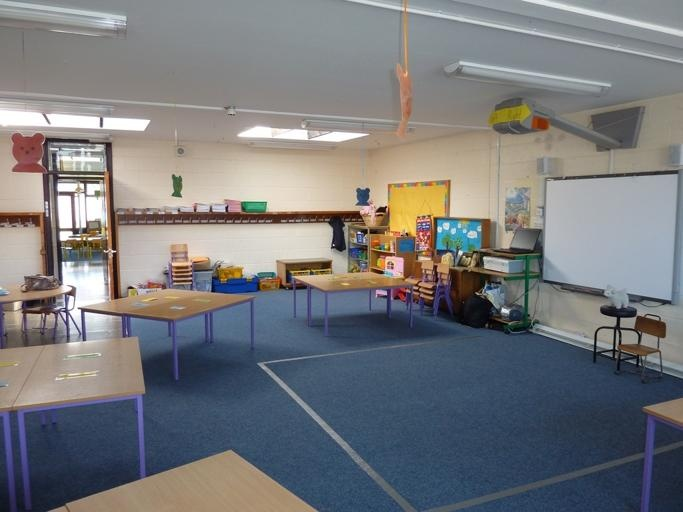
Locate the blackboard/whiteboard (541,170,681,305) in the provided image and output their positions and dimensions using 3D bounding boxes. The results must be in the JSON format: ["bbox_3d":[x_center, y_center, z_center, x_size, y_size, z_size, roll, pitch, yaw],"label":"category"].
[{"bbox_3d":[3.878,-0.283,7.096,0.159,1.742,2.104,0,3,-33],"label":"blackboard/whiteboard"}]

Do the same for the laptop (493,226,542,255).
[{"bbox_3d":[2.966,-0.245,8.229,0.501,0.334,0.564,-2,4,-27],"label":"laptop"}]

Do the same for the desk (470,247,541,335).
[{"bbox_3d":[2.773,0.533,8.474,0.747,1.309,0.954,-4,6,-23],"label":"desk"}]

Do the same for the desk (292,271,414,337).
[{"bbox_3d":[0.151,0.652,8.660,1.326,0.658,1.361,-2,3,-28],"label":"desk"}]

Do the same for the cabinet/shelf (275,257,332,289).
[{"bbox_3d":[-0.919,0.595,11.747,1.357,0.620,0.664,-1,2,-20],"label":"cabinet/shelf"}]
